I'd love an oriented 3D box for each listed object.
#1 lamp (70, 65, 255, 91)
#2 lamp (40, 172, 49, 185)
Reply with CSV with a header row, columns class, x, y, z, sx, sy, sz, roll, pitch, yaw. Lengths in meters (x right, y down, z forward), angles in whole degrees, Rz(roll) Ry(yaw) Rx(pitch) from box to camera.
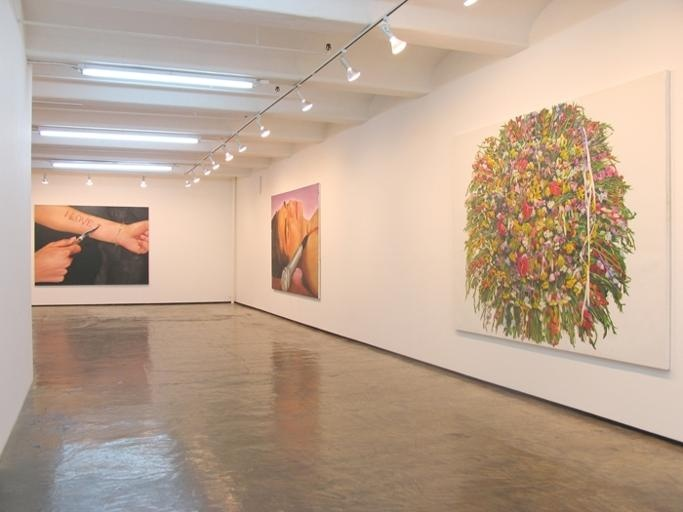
class,x,y,z,sx,sy,sz,roll,pitch,yaw
lamp,-2.380,-2.412,6.090,2.114,0.133,0.450,0,0,-16
lamp,-9.660,-2.490,14.294,0.292,0.315,0.298,5,8,22
